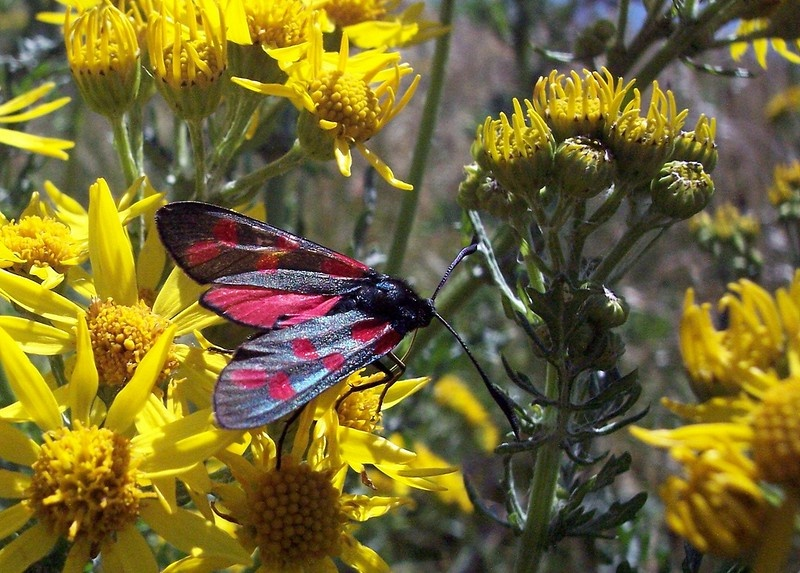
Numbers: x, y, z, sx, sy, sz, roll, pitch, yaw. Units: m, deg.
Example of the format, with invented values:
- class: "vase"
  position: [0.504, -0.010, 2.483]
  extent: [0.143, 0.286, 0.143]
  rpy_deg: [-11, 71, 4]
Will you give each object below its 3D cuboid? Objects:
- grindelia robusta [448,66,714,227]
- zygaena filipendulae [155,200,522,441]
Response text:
- class: "grindelia robusta"
  position: [0.403, -0.265, 1.988]
  extent: [0.514, 0.369, 0.211]
  rpy_deg: [14, 25, 1]
- class: "zygaena filipendulae"
  position: [-0.177, 0.105, 2.082]
  extent: [0.570, 0.180, 0.534]
  rpy_deg: [3, 44, -30]
